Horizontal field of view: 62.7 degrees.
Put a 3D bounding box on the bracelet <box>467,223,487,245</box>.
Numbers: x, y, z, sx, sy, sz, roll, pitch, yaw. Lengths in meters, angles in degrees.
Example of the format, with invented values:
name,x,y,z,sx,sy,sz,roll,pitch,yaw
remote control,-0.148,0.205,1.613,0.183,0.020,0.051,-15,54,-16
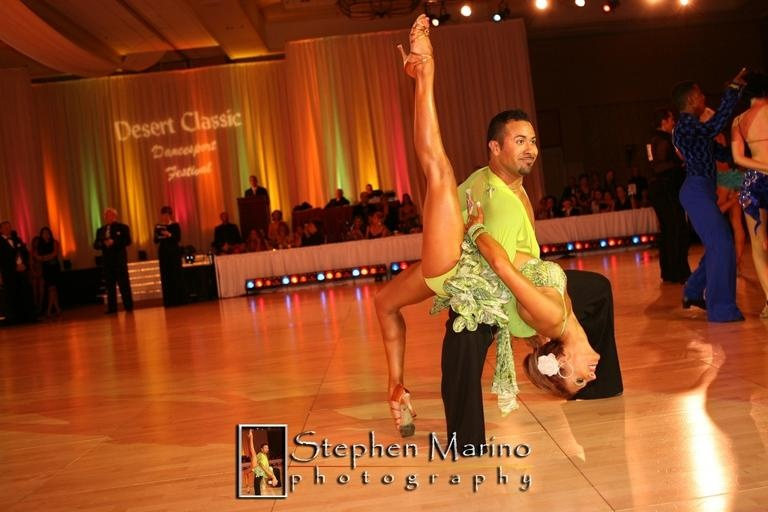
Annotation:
name,x,y,z,sx,sy,sz,roll,pitch,yaw
bracelet,0.469,-0.114,3.161,0.078,0.078,0.104,-1,0,-5

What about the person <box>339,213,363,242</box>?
name,x,y,z,sx,sy,sz,roll,pitch,yaw
person,-0.559,-0.537,12.253,0.520,0.482,1.299,2,8,12

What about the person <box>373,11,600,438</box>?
name,x,y,z,sx,sy,sz,roll,pitch,yaw
person,0.482,-0.146,3.390,1.183,2.236,0.634,-4,6,18

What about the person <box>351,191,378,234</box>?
name,x,y,z,sx,sy,sz,roll,pitch,yaw
person,-0.375,-0.672,12.770,0.398,1.189,0.366,-7,15,-9

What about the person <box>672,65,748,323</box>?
name,x,y,z,sx,sy,sz,roll,pitch,yaw
person,2.822,-0.504,5.421,0.605,2.090,0.618,-2,3,5

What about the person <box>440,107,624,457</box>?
name,x,y,z,sx,sy,sz,roll,pitch,yaw
person,0.862,0.111,3.449,1.104,1.696,0.885,-5,22,-14

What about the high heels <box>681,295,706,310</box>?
name,x,y,z,sx,sy,sz,roll,pitch,yaw
high heels,2.751,0.437,5.625,0.189,0.089,0.073,-6,7,9

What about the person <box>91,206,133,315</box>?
name,x,y,z,sx,sy,sz,roll,pitch,yaw
person,-4.835,0.087,11.345,0.579,1.830,0.846,-9,6,-28

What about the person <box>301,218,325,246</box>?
name,x,y,z,sx,sy,sz,roll,pitch,yaw
person,-1.408,-0.456,12.364,0.396,0.446,0.725,-11,8,-40

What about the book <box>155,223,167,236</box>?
name,x,y,z,sx,sy,sz,roll,pitch,yaw
book,-4.035,-0.442,11.531,0.243,0.253,0.060,9,-4,-4

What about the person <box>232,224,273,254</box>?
name,x,y,z,sx,sy,sz,roll,pitch,yaw
person,-2.675,-0.305,12.816,0.712,0.424,1.564,-7,6,-10
